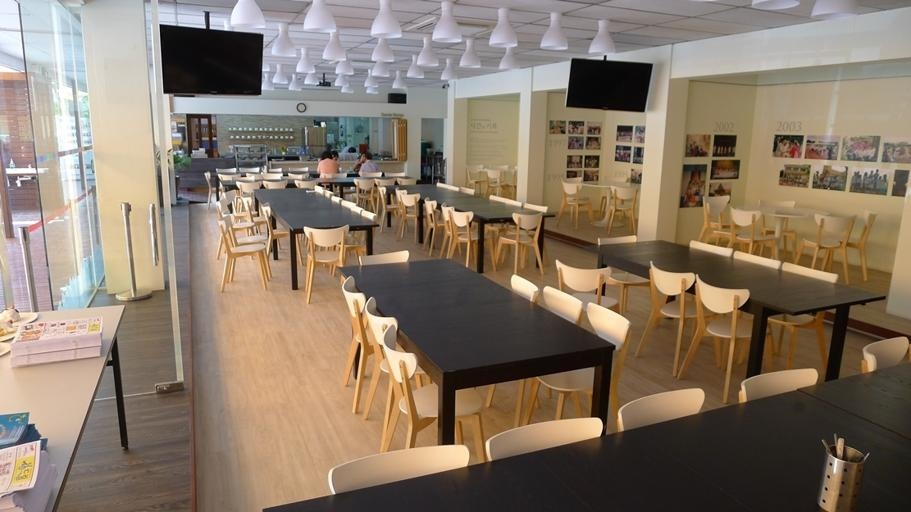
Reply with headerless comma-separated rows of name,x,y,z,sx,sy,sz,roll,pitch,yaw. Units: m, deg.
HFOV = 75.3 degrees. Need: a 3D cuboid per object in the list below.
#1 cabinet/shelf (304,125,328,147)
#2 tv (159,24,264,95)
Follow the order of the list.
cabinet/shelf,-5.083,-4.377,21.656,0.390,0.777,1.154,4,15,18
tv,-3.731,-2.953,8.898,1.956,1.190,0.200,-2,17,-23
